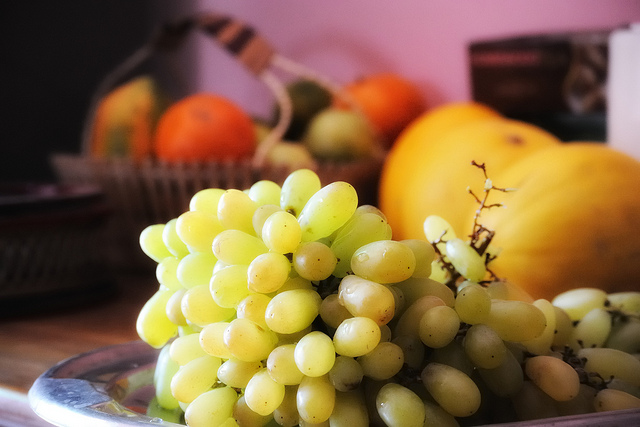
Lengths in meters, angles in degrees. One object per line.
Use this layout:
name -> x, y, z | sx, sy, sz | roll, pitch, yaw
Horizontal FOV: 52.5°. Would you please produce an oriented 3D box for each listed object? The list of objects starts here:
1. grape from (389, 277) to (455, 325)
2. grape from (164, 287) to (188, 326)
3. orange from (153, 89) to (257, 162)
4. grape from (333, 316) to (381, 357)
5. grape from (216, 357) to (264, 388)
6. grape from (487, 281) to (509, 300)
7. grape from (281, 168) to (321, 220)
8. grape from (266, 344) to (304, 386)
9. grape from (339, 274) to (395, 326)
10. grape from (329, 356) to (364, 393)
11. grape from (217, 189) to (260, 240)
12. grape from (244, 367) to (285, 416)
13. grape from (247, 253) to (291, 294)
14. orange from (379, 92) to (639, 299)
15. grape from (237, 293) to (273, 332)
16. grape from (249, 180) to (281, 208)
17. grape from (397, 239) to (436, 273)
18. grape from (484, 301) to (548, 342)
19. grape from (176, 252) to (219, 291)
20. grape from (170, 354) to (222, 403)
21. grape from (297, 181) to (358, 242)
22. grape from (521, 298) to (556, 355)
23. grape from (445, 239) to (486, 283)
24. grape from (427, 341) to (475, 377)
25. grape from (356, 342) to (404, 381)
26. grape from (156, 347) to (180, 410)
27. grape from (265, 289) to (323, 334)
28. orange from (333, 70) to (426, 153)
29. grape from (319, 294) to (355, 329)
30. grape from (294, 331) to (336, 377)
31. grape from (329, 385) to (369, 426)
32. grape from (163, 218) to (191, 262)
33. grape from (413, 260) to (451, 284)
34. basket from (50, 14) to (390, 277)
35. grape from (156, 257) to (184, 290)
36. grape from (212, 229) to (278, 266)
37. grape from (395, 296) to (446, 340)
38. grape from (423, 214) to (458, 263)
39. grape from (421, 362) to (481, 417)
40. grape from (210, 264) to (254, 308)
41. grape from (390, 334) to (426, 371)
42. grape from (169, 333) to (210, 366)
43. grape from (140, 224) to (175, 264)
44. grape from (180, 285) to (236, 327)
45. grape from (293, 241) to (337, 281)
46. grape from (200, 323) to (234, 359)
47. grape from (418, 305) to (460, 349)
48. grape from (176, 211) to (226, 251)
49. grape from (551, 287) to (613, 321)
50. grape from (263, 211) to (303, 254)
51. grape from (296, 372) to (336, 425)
grape -> 0.111, 0.097, 0.750 | 0.075, 0.041, 0.046 | -2, 45, 21
grape -> -0.169, 0.109, 0.755 | 0.031, 0.045, 0.024 | 2, 2, 8
orange -> -0.222, -0.158, 1.311 | 0.150, 0.158, 0.157 | 22, 47, 18
grape -> 0.039, 0.129, 0.683 | 0.045, 0.037, 0.034 | -8, 23, -2
grape -> -0.087, 0.176, 0.722 | 0.045, 0.031, 0.029 | -11, 25, 7
grape -> 0.212, 0.091, 0.770 | 0.018, 0.013, 0.022 | 12, 24, 11
grape -> -0.021, -0.036, 0.769 | 0.045, 0.037, 0.034 | -9, -1, -10
grape -> -0.039, 0.162, 0.695 | 0.042, 0.036, 0.034 | 4, -5, 3
grape -> 0.051, 0.102, 0.704 | 0.059, 0.062, 0.045 | -2, 28, 1
grape -> 0.029, 0.171, 0.693 | 0.028, 0.031, 0.039 | 0, 1, 0
grape -> -0.102, -0.006, 0.781 | 0.057, 0.066, 0.114 | -4, 0, -7
grape -> -0.061, 0.194, 0.696 | 0.034, 0.049, 0.036 | 12, -5, 17
grape -> -0.056, 0.064, 0.702 | 0.046, 0.037, 0.034 | -28, 49, -24
orange -> 0.340, 0.037, 1.222 | 0.395, 0.233, 0.373 | -22, 43, -39
grape -> -0.072, 0.104, 0.716 | 0.039, 0.033, 0.031 | 20, 7, 6
grape -> -0.066, -0.025, 0.806 | 0.033, 0.034, 0.038 | 11, 6, -33
grape -> 0.109, 0.046, 0.745 | 0.039, 0.024, 0.031 | -18, -33, 23
grape -> 0.218, 0.126, 0.743 | 0.079, 0.048, 0.047 | -3, 15, 32
grape -> -0.142, 0.067, 0.764 | 0.060, 0.050, 0.046 | -9, -8, -6
grape -> -0.142, 0.187, 0.733 | 0.066, 0.034, 0.035 | -31, 59, -14
grape -> 0.009, -0.004, 0.743 | 0.044, 0.046, 0.090 | 13, -29, -41
grape -> 0.257, 0.134, 0.764 | 0.031, 0.060, 0.049 | 1, -17, 14
grape -> 0.175, 0.055, 0.779 | 0.060, 0.032, 0.031 | 47, 14, 27
grape -> 0.147, 0.159, 0.718 | 0.035, 0.028, 0.045 | 14, 2, -36
grape -> 0.072, 0.160, 0.713 | 0.037, 0.035, 0.055 | 29, 22, 34
grape -> -0.178, 0.200, 0.782 | 0.027, 0.067, 0.027 | 2, -6, 9
grape -> -0.034, 0.110, 0.727 | 0.050, 0.052, 0.081 | 4, -4, 26
orange -> 0.156, -0.242, 1.356 | 0.130, 0.141, 0.139 | 12, 10, 24
grape -> 0.018, 0.107, 0.705 | 0.036, 0.029, 0.028 | 2, 7, -17
grape -> -0.006, 0.153, 0.702 | 0.046, 0.058, 0.046 | -1, -1, -10
grape -> 0.029, 0.205, 0.700 | 0.031, 0.045, 0.024 | -6, -12, 5
grape -> -0.173, 0.033, 0.766 | 0.027, 0.055, 0.025 | -19, 16, -31
grape -> 0.137, 0.065, 0.793 | 0.031, 0.034, 0.042 | 7, 8, 37
basket -> -0.173, -0.160, 1.409 | 0.602, 0.455, 0.497 | 3, 3, 2
grape -> -0.177, 0.070, 0.769 | 0.022, 0.030, 0.021 | -21, 22, 30
grape -> -0.091, 0.041, 0.738 | 0.080, 0.039, 0.035 | 12, -3, -39
grape -> 0.118, 0.112, 0.737 | 0.056, 0.036, 0.031 | -28, -2, -39
grape -> 0.159, 0.039, 0.860 | 0.023, 0.069, 0.033 | -24, 19, 33
grape -> 0.142, 0.190, 0.693 | 0.065, 0.040, 0.040 | 32, 71, 23
grape -> -0.099, 0.080, 0.713 | 0.049, 0.037, 0.035 | -17, 34, -22
grape -> 0.101, 0.151, 0.716 | 0.028, 0.039, 0.031 | -7, 50, 40
grape -> -0.153, 0.158, 0.745 | 0.048, 0.026, 0.025 | -4, -1, -1
grape -> -0.200, 0.040, 0.804 | 0.045, 0.028, 0.037 | -3, -12, 41
grape -> -0.124, 0.099, 0.717 | 0.055, 0.033, 0.033 | 4, -11, -22
grape -> -0.006, 0.052, 0.721 | 0.041, 0.045, 0.055 | 4, -6, -19
grape -> -0.119, 0.147, 0.715 | 0.039, 0.031, 0.023 | 8, -9, -30
grape -> 0.128, 0.122, 0.700 | 0.033, 0.037, 0.046 | 13, 1, 32
grape -> -0.137, 0.022, 0.737 | 0.063, 0.033, 0.031 | 17, -9, -24
grape -> 0.355, 0.112, 0.880 | 0.051, 0.028, 0.053 | -6, 2, 8
grape -> -0.041, 0.021, 0.719 | 0.039, 0.049, 0.039 | 1, 7, -30
grape -> -0.004, 0.198, 0.695 | 0.042, 0.041, 0.034 | -3, 29, -1
